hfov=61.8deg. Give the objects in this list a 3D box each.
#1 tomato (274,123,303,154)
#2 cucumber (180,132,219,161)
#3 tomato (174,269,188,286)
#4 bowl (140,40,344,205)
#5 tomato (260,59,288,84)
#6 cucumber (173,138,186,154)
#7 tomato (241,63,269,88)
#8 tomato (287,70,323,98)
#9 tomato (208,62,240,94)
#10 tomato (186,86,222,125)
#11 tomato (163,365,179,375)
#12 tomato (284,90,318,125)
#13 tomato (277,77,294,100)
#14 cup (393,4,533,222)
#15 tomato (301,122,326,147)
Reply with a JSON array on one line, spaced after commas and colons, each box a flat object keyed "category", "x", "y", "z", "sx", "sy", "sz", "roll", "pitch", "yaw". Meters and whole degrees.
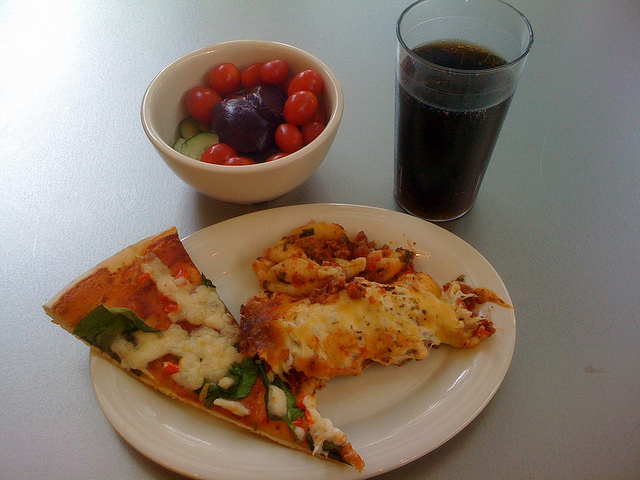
[{"category": "tomato", "x": -0.083, "y": -0.262, "z": 1.394, "sx": 0.076, "sy": 0.062, "sz": 0.077, "roll": 0, "pitch": 57, "yaw": 4}, {"category": "cucumber", "x": -0.334, "y": -0.241, "z": 1.434, "sx": 0.078, "sy": 0.019, "sz": 0.069, "roll": 32, "pitch": 74, "yaw": 20}, {"category": "tomato", "x": -0.325, "y": 0.078, "z": 1.253, "sx": 0.026, "sy": 0.013, "sz": 0.027, "roll": -12, "pitch": 57, "yaw": -3}, {"category": "bowl", "x": -0.192, "y": -0.333, "z": 1.403, "sx": 0.432, "sy": 0.266, "sz": 0.487, "roll": -1, "pitch": 49, "yaw": 2}, {"category": "tomato", "x": -0.125, "y": -0.456, "z": 1.454, "sx": 0.068, "sy": 0.053, "sz": 0.058, "roll": -16, "pitch": 74, "yaw": 21}, {"category": "cucumber", "x": -0.381, "y": -0.257, "z": 1.443, "sx": 0.039, "sy": 0.012, "sz": 0.048, "roll": -13, "pitch": 62, "yaw": 18}, {"category": "tomato", "x": -0.176, "y": -0.452, "z": 1.490, "sx": 0.073, "sy": 0.065, "sz": 0.059, "roll": -12, "pitch": 16, "yaw": -1}, {"category": "tomato", "x": -0.041, "y": -0.409, "z": 1.455, "sx": 0.076, "sy": 0.062, "sz": 0.062, "roll": -24, "pitch": 65, "yaw": 6}, {"category": "tomato", "x": -0.265, "y": -0.446, "z": 1.495, "sx": 0.090, "sy": 0.080, "sz": 0.073, "roll": 1, "pitch": 18, "yaw": -17}, {"category": "tomato", "x": -0.320, "y": -0.377, "z": 1.482, "sx": 0.105, "sy": 0.088, "sz": 0.095, "roll": 9, "pitch": 96, "yaw": 13}, {"category": "tomato", "x": -0.319, "y": 0.276, "z": 1.148, "sx": 0.033, "sy": 0.013, "sz": 0.016, "roll": 5, "pitch": 57, "yaw": 8}, {"category": "tomato", "x": -0.054, "y": -0.342, "z": 1.426, "sx": 0.087, "sy": 0.069, "sz": 0.068, "roll": -37, "pitch": 43, "yaw": 2}, {"category": "tomato", "x": -0.101, "y": -0.416, "z": 1.487, "sx": 0.040, "sy": 0.029, "sz": 0.057, "roll": 6, "pitch": 85, "yaw": 0}, {"category": "cup", "x": 0.332, "y": -0.311, "z": 1.349, "sx": 0.296, "sy": 0.484, "sz": 0.307, "roll": -2, "pitch": 55, "yaw": 3}, {"category": "tomato", "x": -0.013, "y": -0.273, "z": 1.398, "sx": 0.053, "sy": 0.058, "sz": 0.071, "roll": 8, "pitch": 94, "yaw": 6}]
